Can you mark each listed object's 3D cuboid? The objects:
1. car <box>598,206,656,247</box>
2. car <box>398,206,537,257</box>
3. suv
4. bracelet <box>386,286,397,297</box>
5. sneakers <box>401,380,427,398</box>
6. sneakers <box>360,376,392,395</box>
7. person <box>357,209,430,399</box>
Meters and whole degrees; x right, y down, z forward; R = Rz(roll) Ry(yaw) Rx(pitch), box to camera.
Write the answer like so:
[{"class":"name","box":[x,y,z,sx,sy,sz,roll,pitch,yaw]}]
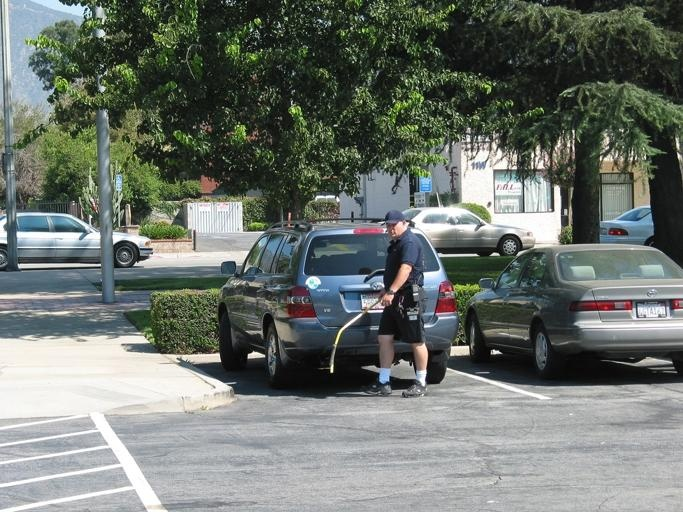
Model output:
[{"class":"car","box":[8.570,-0.927,28.590,1.149,0.877,2.668,-2,7,-6]},{"class":"car","box":[4.449,-0.982,33.894,5.200,1.698,2.087,-1,5,-11]},{"class":"suv","box":[-0.349,0.524,12.199,1.785,1.439,3.378,-1,6,-16]},{"class":"bracelet","box":[0.576,0.410,10.816,0.109,0.069,0.125,3,-9,9]},{"class":"sneakers","box":[0.900,1.629,11.233,0.324,0.154,0.147,-2,2,-16]},{"class":"sneakers","box":[0.431,1.615,11.329,0.394,0.190,0.142,3,-5,10]},{"class":"person","box":[0.698,0.583,11.094,0.634,2.269,0.635,-1,1,4]}]
